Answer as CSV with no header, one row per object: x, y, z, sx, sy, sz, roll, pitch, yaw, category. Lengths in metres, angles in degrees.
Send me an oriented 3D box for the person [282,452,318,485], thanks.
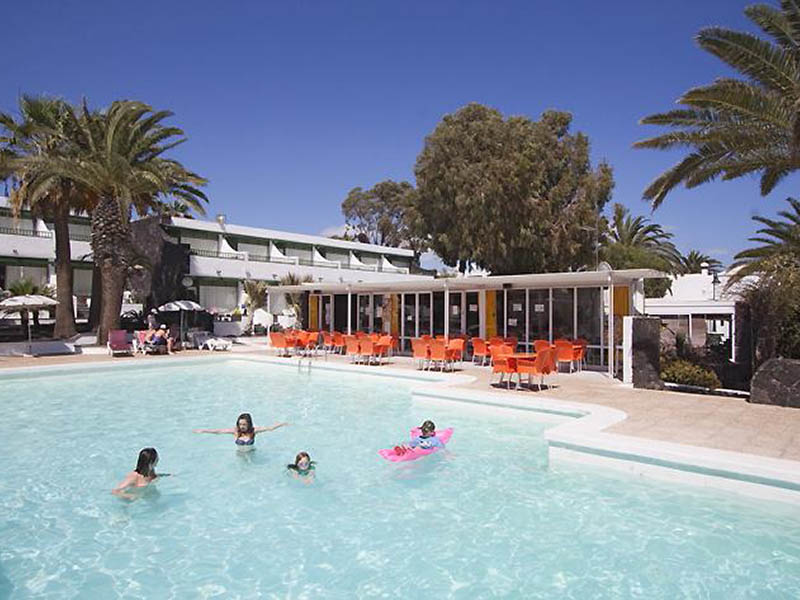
-1.805,3.066,11.462,0.667,0.468,1.124,-5,-4,-2,person

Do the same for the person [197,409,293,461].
-3.213,2.701,13.007,1.598,0.802,1.336,-5,-4,41,person

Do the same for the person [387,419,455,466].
0.391,2.724,12.106,1.553,0.690,0.468,-1,-2,-31,person

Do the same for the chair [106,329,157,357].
-10.782,1.652,24.195,1.479,1.014,1.584,-4,-3,34,chair

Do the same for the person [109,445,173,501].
-4.623,3.022,10.949,0.567,0.787,0.938,-4,-3,36,person
